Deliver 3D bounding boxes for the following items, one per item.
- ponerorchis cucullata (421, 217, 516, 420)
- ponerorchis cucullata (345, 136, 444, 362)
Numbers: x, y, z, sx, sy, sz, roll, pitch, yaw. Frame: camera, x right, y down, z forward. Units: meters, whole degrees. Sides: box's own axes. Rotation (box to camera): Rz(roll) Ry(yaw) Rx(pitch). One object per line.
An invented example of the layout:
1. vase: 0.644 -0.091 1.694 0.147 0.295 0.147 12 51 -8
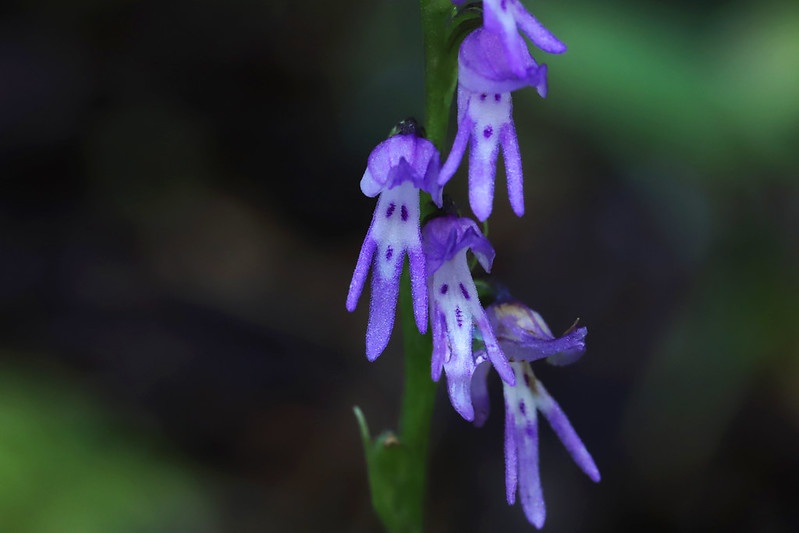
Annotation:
1. ponerorchis cucullata: 0.251 0.162 3.306 0.349 0.821 0.189 -2 -1 -39
2. ponerorchis cucullata: -0.024 -0.076 3.261 0.312 0.738 0.442 6 -35 1
